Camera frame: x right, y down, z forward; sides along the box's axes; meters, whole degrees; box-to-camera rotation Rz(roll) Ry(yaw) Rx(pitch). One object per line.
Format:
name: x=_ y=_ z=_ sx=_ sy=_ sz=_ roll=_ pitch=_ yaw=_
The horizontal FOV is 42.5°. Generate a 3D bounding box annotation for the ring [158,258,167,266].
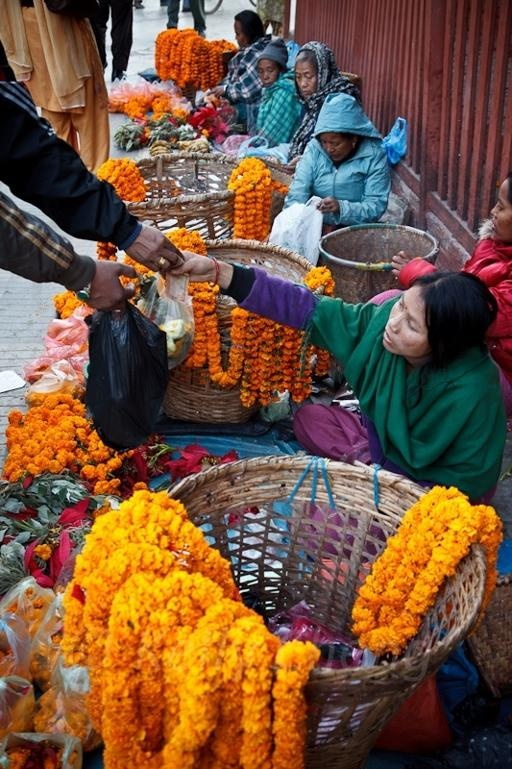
ring: x=-0.312 y=-0.404 z=2.153 sx=0.029 sy=0.007 sz=0.025 roll=15 pitch=69 yaw=7

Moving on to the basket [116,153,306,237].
basket: x=-0.236 y=-0.946 z=3.290 sx=0.754 sy=0.250 sz=0.697 roll=1 pitch=33 yaw=-4

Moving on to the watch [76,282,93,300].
watch: x=-0.532 y=-0.292 z=2.042 sx=0.048 sy=0.031 sz=0.044 roll=-20 pitch=8 yaw=-10
